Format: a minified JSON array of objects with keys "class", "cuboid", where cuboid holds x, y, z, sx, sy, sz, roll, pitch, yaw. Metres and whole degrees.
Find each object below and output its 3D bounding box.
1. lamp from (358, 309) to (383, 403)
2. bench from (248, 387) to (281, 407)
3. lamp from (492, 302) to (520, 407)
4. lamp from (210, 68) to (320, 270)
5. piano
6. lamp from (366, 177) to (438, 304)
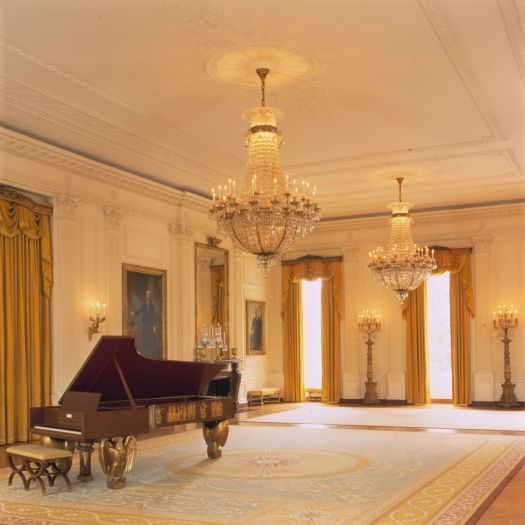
[{"class":"lamp","cuboid":[2.928,2.541,14.119,0.609,2.421,0.462,-1,-9,3]},{"class":"bench","cuboid":[0.062,3.715,14.591,0.675,0.410,1.539,-4,-11,19]},{"class":"lamp","cuboid":[5.959,2.255,12.701,0.584,2.402,0.533,-5,-10,24]},{"class":"lamp","cuboid":[0.038,-1.212,6.570,1.395,2.629,1.386,0,-2,-20]},{"class":"piano","cuboid":[-1.391,1.573,6.064,1.374,1.588,2.435,-6,-10,36]},{"class":"lamp","cuboid":[3.193,-0.434,12.027,1.395,2.670,2.466,-3,-10,17]}]
